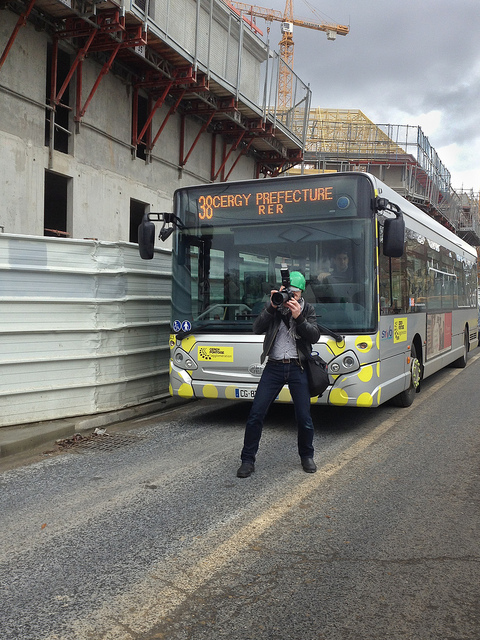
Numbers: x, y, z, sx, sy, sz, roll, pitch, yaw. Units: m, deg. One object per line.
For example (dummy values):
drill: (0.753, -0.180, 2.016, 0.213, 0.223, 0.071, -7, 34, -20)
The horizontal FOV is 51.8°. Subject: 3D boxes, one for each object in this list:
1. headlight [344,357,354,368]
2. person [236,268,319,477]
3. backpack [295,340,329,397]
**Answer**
headlight: (1.290, 0.500, 5.850, 0.092, 0.115, 0.102, 0, 1, 4)
person: (0.380, 0.485, 4.609, 0.707, 1.942, 0.638, 1, 6, 5)
backpack: (0.716, 0.410, 4.753, 0.220, 0.588, 0.383, -16, -1, 15)
